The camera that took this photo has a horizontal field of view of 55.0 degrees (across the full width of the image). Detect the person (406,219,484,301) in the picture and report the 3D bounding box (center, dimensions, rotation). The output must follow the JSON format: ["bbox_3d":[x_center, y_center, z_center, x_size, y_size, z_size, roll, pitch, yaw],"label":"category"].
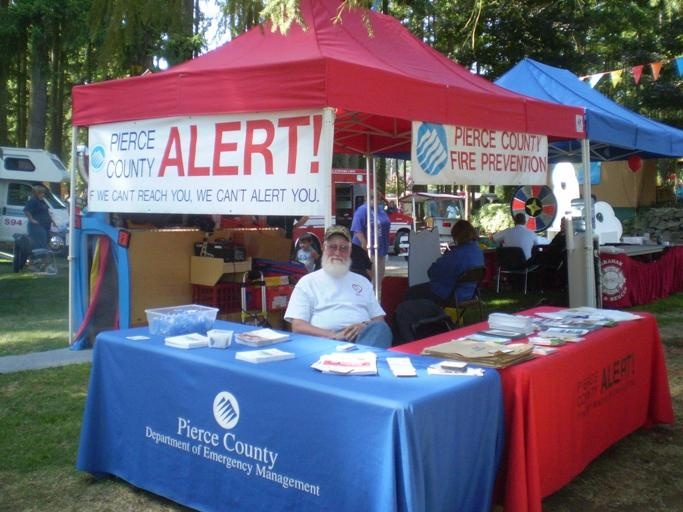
[{"bbox_3d":[1.339,0.052,8.282,0.875,1.022,0.523,2,7,9],"label":"person"}]

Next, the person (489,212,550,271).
[{"bbox_3d":[3.479,-0.274,12.766,0.912,1.578,0.822,14,34,23],"label":"person"}]

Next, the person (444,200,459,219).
[{"bbox_3d":[3.772,-1.614,22.288,0.435,0.456,0.888,1,9,6],"label":"person"}]

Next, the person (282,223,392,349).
[{"bbox_3d":[0.020,0.263,5.931,0.759,1.160,0.997,2,-11,-21],"label":"person"}]

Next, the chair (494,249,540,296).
[{"bbox_3d":[3.095,0.203,12.001,0.686,1.100,0.797,2,6,38],"label":"chair"}]

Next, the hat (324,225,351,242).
[{"bbox_3d":[-0.049,-0.219,6.330,0.250,0.182,0.430,3,-4,-3],"label":"hat"}]

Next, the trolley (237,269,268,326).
[{"bbox_3d":[-1.063,0.503,7.980,0.336,0.708,0.664,-1,8,-10],"label":"trolley"}]
